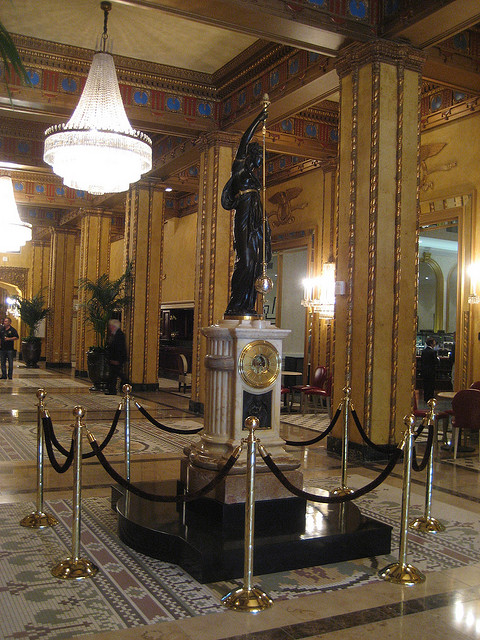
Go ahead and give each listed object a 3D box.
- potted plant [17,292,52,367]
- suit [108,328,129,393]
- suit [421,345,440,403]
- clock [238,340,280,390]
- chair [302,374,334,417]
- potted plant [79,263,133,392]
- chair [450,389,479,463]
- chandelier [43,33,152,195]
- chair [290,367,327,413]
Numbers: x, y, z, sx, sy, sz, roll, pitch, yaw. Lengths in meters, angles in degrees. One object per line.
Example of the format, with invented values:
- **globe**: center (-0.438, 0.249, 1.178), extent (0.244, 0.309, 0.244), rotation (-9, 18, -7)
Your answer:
- **potted plant**: center (-7.435, 0.378, 20.266), extent (0.982, 2.616, 1.108), rotation (2, -1, -21)
- **suit**: center (-2.553, 0.821, 11.778), extent (0.328, 1.250, 0.730), rotation (2, -1, -13)
- **suit**: center (3.692, 0.983, 10.985), extent (0.365, 1.244, 0.432), rotation (1, 4, 16)
- **clock**: center (0.135, 0.300, 3.830), extent (0.360, 0.333, 0.038), rotation (-5, -7, 40)
- **chair**: center (1.378, 1.335, 10.371), extent (0.621, 0.849, 0.555), rotation (7, -12, -18)
- **potted plant**: center (-3.117, 0.236, 12.998), extent (1.681, 2.655, 0.998), rotation (5, -10, -37)
- **chair**: center (2.642, 1.232, 6.665), extent (0.277, 0.831, 0.388), rotation (1, -1, 17)
- **chandelier**: center (-1.673, -2.065, 6.654), extent (1.147, 1.996, 1.012), rotation (2, -2, -7)
- **chair**: center (1.269, 1.281, 10.450), extent (0.601, 0.817, 0.502), rotation (2, -2, -21)
